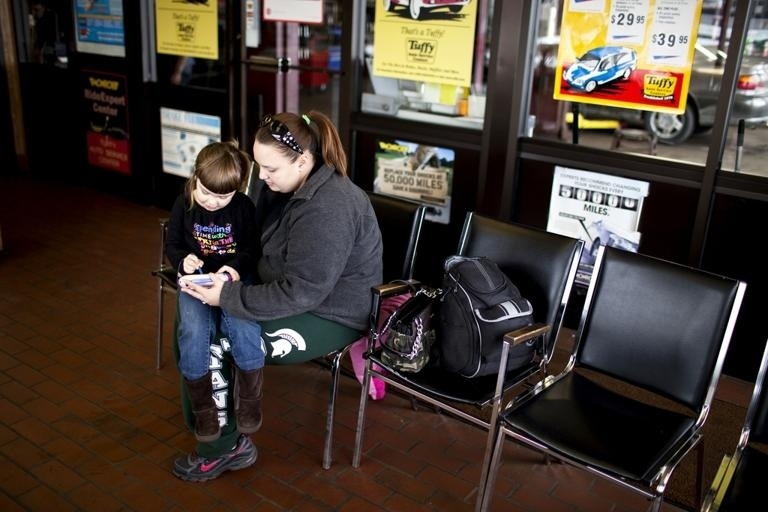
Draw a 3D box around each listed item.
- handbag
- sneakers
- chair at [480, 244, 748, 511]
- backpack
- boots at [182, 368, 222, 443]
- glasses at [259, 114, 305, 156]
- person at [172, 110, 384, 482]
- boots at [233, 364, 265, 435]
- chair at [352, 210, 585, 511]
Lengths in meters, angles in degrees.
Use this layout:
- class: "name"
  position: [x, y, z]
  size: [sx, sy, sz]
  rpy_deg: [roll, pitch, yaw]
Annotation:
- class: "handbag"
  position: [0.099, 0.360, 2.755]
  size: [0.236, 0.394, 0.452]
  rpy_deg: [27, 17, 28]
- class: "sneakers"
  position: [-0.853, 1.055, 2.879]
  size: [0.438, 0.204, 0.178]
  rpy_deg: [-12, 50, -22]
- class: "chair"
  position: [1.048, 0.603, 2.624]
  size: [0.754, 1.262, 0.925]
  rpy_deg: [25, 35, 35]
- class: "backpack"
  position: [0.486, 0.306, 2.631]
  size: [0.600, 0.583, 0.350]
  rpy_deg: [-11, 11, -42]
- class: "boots"
  position: [-0.900, 0.734, 2.754]
  size: [0.129, 0.340, 0.160]
  rpy_deg: [-9, 26, -26]
- class: "glasses"
  position: [-0.472, -0.568, 2.651]
  size: [0.176, 0.057, 0.178]
  rpy_deg: [36, -3, 34]
- class: "person"
  position: [-0.453, 0.185, 2.852]
  size: [0.860, 1.739, 0.608]
  rpy_deg: [2, 23, -1]
- class: "boots"
  position: [-0.676, 0.718, 2.787]
  size: [0.138, 0.269, 0.289]
  rpy_deg: [2, 10, -9]
- class: "chair"
  position: [0.392, 0.577, 2.803]
  size: [0.873, 1.366, 1.026]
  rpy_deg: [23, 34, 28]
